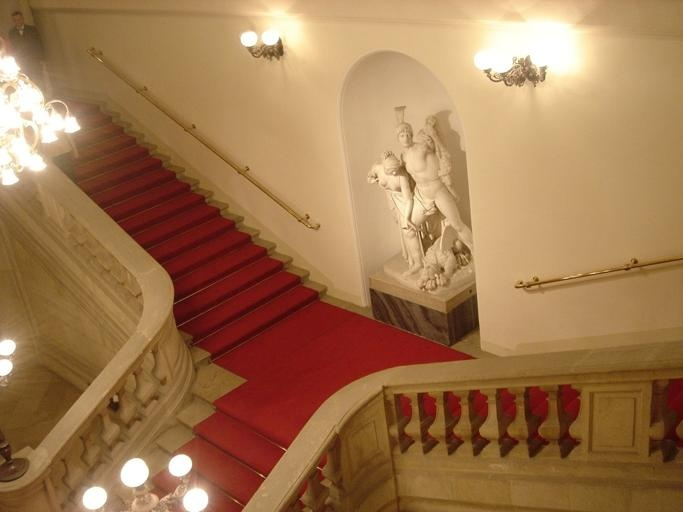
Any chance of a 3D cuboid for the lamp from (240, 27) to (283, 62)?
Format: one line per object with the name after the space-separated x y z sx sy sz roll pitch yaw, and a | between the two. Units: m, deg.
-0.968 -2.613 6.794 0.460 0.360 0.127 17 -18 -5 | lamp
